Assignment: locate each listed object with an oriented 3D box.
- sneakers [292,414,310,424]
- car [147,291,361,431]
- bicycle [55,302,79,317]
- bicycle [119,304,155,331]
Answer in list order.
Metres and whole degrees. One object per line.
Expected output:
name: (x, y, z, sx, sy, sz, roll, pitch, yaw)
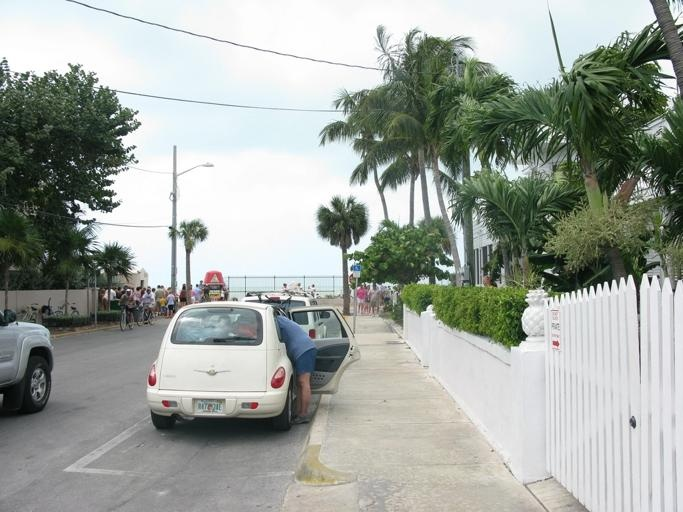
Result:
sneakers: (-0.631, 2.586, 9.502, 0.267, 0.160, 0.104, 1, 0, -8)
car: (-1.411, 1.556, 9.653, 2.060, 1.275, 2.743, -1, -3, 6)
bicycle: (-15.764, 3.033, 34.078, 1.386, 1.057, 0.804, 0, 4, 3)
bicycle: (-10.589, 3.072, 30.592, 0.840, 1.239, 1.896, -3, -6, 20)
